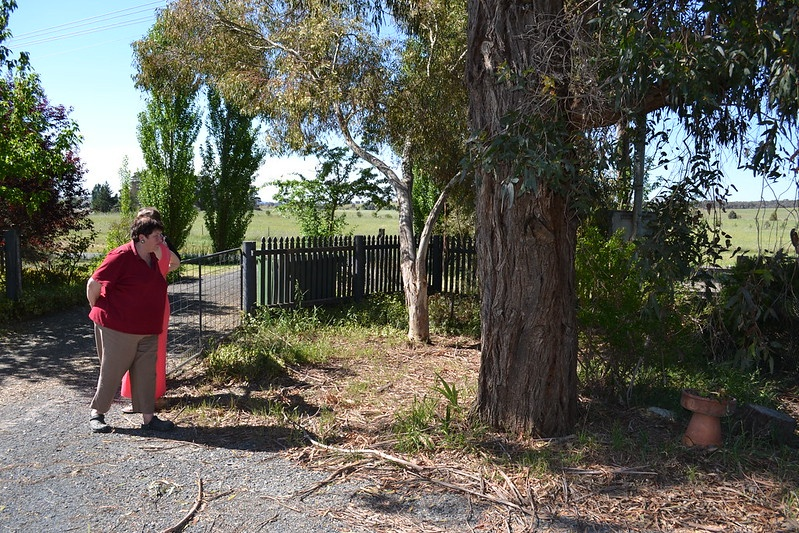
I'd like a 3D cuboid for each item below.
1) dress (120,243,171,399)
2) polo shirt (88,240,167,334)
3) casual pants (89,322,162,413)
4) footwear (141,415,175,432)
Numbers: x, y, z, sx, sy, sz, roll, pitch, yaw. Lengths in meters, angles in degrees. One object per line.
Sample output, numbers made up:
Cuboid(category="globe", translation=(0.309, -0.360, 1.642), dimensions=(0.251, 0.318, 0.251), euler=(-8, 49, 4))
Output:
Cuboid(category="dress", translation=(-3.277, 0.744, 9.855), dimensions=(0.508, 2.421, 0.573), euler=(4, -2, -39))
Cuboid(category="polo shirt", translation=(-3.511, 0.285, 9.596), dimensions=(0.695, 1.331, 1.218), euler=(-7, -12, 28))
Cuboid(category="casual pants", translation=(-3.602, 1.371, 9.647), dimensions=(0.739, 0.721, 1.629), euler=(5, 43, -17))
Cuboid(category="footwear", translation=(-3.165, 2.068, 9.446), dimensions=(0.332, 0.185, 0.209), euler=(1, 2, 2))
